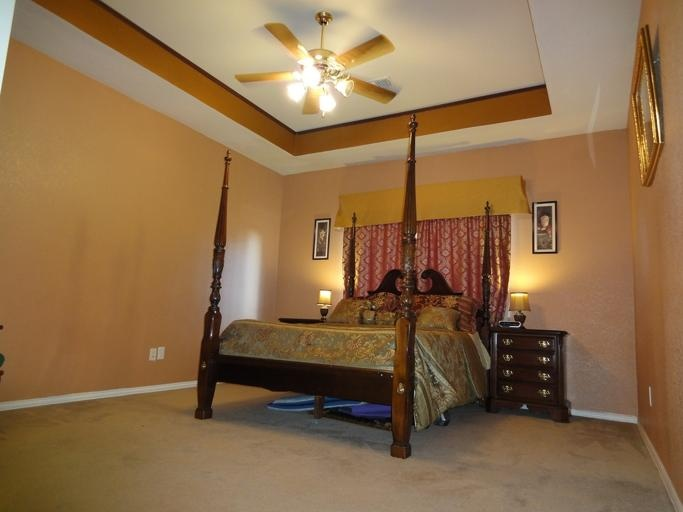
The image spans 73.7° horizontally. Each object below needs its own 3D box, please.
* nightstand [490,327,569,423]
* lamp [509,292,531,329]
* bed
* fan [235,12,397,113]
[{"bbox_3d":[2.115,1.455,5.248,0.845,1.072,0.558,-3,-40,26],"label":"nightstand"},{"bbox_3d":[2.098,0.645,5.389,0.232,0.401,0.236,-3,-11,35],"label":"lamp"},{"bbox_3d":[0.260,0.269,4.941,2.184,2.823,2.815,-1,-6,38],"label":"bed"},{"bbox_3d":[-0.195,-1.719,4.493,1.110,0.590,1.162,4,-17,-9],"label":"fan"}]
